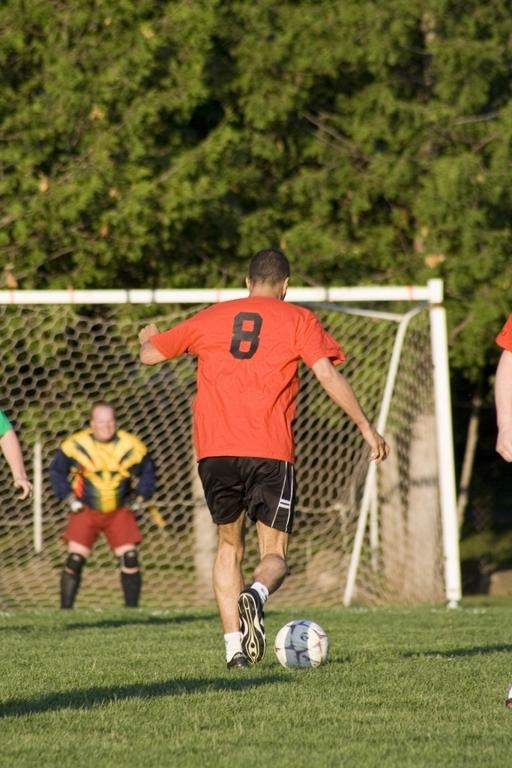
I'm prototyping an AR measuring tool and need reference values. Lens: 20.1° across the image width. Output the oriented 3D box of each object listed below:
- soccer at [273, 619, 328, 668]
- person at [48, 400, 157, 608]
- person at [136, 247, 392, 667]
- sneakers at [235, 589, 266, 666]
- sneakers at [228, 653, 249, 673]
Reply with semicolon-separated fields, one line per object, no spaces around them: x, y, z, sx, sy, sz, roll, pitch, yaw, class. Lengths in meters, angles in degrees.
0.211;1.292;7.172;0.231;0.234;0.231;4;51;6;soccer
-1.058;0.879;10.107;0.717;1.555;0.450;-1;16;-13;person
0.067;0.436;7.269;0.971;1.689;1.000;-13;19;-32;person
-0.024;1.144;6.835;0.112;0.404;0.135;-3;16;-1;sneakers
-0.090;1.351;7.061;0.056;0.054;0.124;0;2;-4;sneakers
